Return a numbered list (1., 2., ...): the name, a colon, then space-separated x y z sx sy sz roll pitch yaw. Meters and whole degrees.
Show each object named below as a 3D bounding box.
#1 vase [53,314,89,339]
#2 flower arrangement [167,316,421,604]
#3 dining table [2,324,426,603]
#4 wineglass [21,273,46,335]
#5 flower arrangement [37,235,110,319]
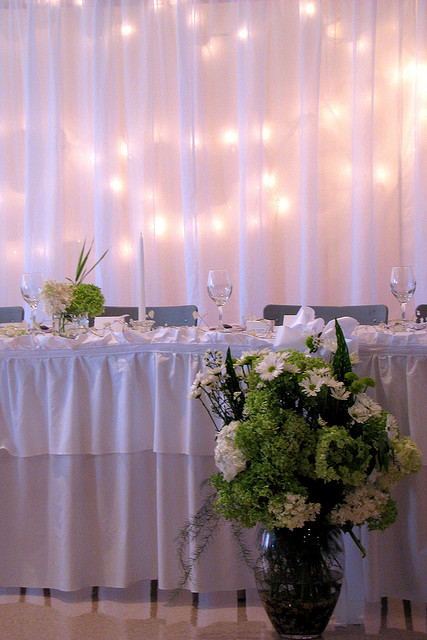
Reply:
1. vase: -0.374 0.015 1.929 0.069 0.064 0.077 1 -4 12
2. flower arrangement: 0.131 0.302 1.582 0.402 0.517 0.537 -2 -2 -37
3. dining table: -0.038 0.347 1.794 1.014 0.593 0.427 -3 -1 0
4. wineglass: -0.476 -0.046 1.957 0.070 0.169 0.074 -9 21 -31
5. flower arrangement: -0.358 -0.079 1.955 0.140 0.245 0.142 -13 -16 18
